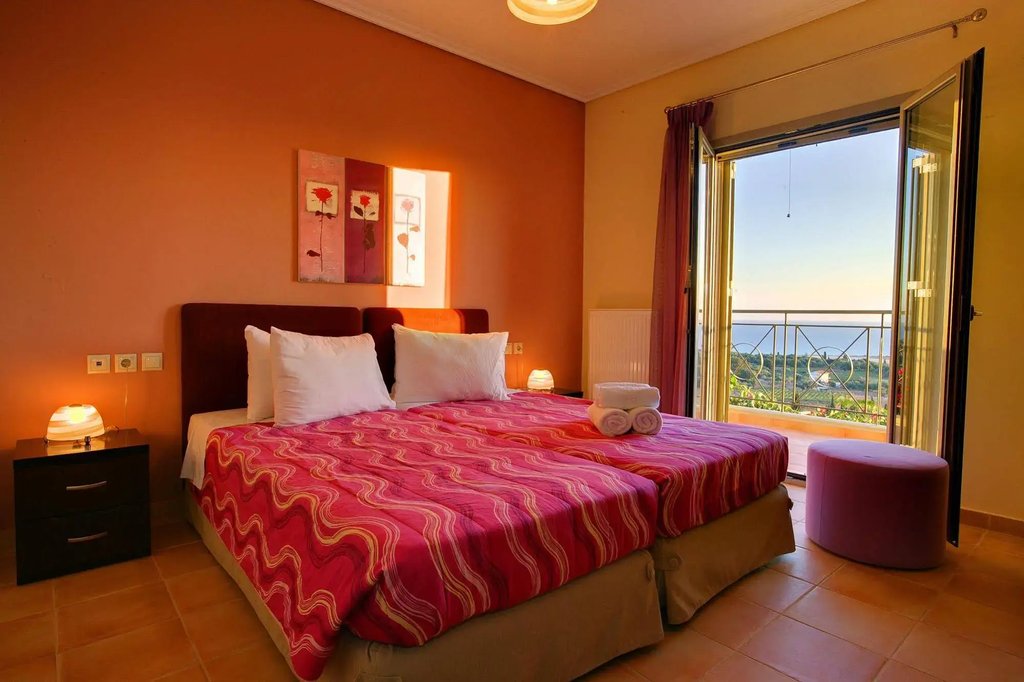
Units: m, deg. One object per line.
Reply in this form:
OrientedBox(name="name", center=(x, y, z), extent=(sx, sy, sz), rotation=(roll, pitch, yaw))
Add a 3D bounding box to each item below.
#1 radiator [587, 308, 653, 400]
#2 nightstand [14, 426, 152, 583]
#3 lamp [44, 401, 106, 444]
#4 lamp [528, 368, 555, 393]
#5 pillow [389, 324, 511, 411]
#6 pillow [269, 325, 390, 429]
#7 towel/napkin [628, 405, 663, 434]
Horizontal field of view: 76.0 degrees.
OrientedBox(name="radiator", center=(1.036, 0.134, 6.076), extent=(0.676, 0.770, 0.060), rotation=(1, -2, 38))
OrientedBox(name="nightstand", center=(-2.707, 0.981, 4.186), extent=(0.786, 0.754, 0.779), rotation=(0, -1, -37))
OrientedBox(name="lamp", center=(-2.672, 0.492, 3.993), extent=(0.256, 0.144, 0.250), rotation=(1, -3, -11))
OrientedBox(name="lamp", center=(0.262, 0.361, 6.023), extent=(0.200, 0.135, 0.197), rotation=(0, -6, 6))
OrientedBox(name="pillow", center=(-0.462, 0.198, 5.055), extent=(0.952, 0.590, 0.280), rotation=(1, -2, -19))
OrientedBox(name="pillow", center=(-1.229, 0.241, 4.487), extent=(0.349, 0.596, 0.810), rotation=(10, 10, 43))
OrientedBox(name="towel/napkin", center=(0.832, 0.497, 4.138), extent=(0.173, 0.072, 0.172), rotation=(-1, 3, -7))
